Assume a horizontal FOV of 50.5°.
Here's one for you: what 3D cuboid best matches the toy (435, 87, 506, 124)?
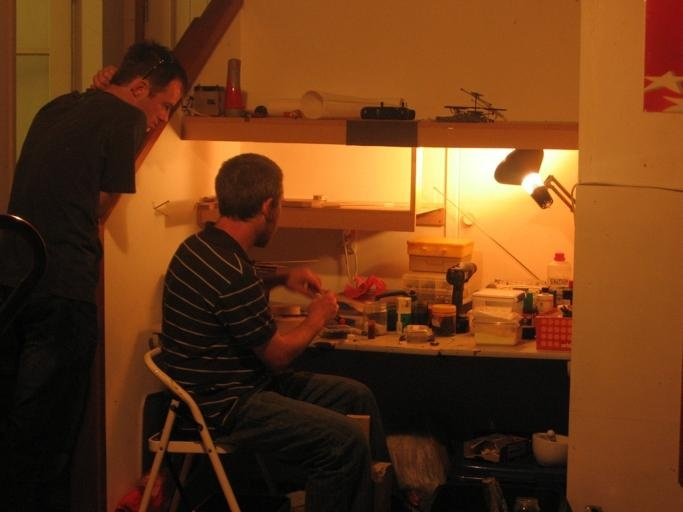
[{"bbox_3d":[0.686,-0.791,3.934,0.388,0.200,0.233,2,4,7],"label":"toy"}]

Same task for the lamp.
[{"bbox_3d":[0.980,-0.393,3.667,0.395,0.292,0.143,5,7,40],"label":"lamp"}]

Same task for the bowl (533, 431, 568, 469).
[{"bbox_3d":[0.983,0.891,3.381,0.150,0.113,0.150,3,-6,0],"label":"bowl"}]

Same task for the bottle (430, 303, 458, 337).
[{"bbox_3d":[0.483,0.297,3.444,0.124,0.151,0.133,-1,2,-3],"label":"bottle"}]

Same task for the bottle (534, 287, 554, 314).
[{"bbox_3d":[0.994,0.215,3.512,0.088,0.172,0.094,-1,1,0],"label":"bottle"}]
